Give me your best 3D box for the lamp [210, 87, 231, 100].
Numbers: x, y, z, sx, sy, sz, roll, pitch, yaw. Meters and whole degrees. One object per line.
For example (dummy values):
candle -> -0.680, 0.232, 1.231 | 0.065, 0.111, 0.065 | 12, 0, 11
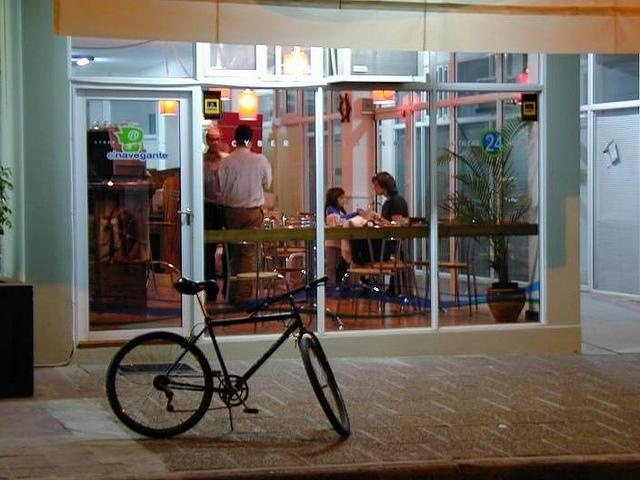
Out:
lamp -> -1.196, -1.763, 8.417 | 0.150, 0.183, 0.159 | 6, 9, 31

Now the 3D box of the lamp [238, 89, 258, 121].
lamp -> -0.878, -1.664, 8.512 | 0.271, 0.524, 0.308 | -3, 8, -22

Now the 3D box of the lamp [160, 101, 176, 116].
lamp -> -1.823, -1.590, 8.340 | 0.154, 0.136, 0.170 | 2, 1, 15
